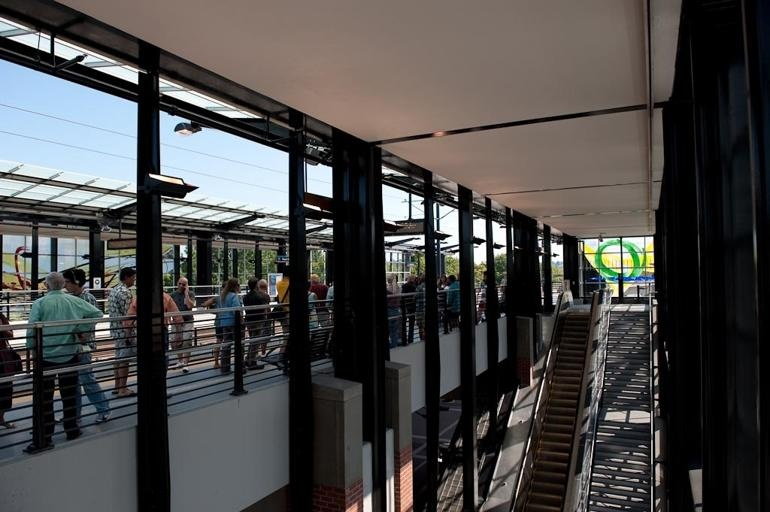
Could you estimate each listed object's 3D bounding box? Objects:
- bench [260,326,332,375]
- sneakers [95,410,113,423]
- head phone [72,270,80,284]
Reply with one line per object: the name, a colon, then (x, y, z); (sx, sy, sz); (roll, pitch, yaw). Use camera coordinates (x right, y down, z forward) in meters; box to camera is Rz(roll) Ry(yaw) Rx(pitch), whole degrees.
bench: (-1.201, 1.405, 8.633); (0.564, 0.535, 1.234); (-10, -13, 0)
sneakers: (-3.083, 1.744, 6.215); (0.146, 0.119, 0.539); (-3, 0, -27)
head phone: (-3.719, 0.260, 6.859); (0.036, 0.158, 0.099); (-3, 0, 4)
